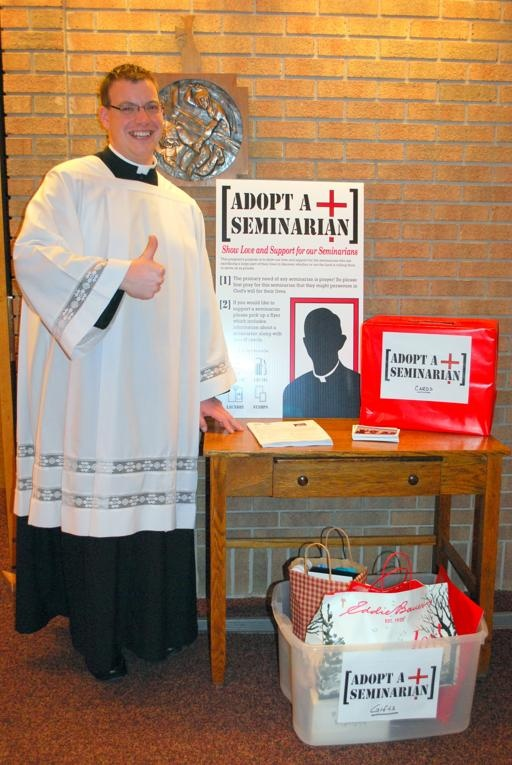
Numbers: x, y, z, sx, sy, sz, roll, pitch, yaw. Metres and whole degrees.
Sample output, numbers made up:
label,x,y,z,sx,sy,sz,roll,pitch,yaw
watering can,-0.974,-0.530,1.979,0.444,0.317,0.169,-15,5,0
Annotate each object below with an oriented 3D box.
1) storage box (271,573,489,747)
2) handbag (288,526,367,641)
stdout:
label,x,y,z,sx,sy,sz,roll,pitch,yaw
storage box,0.331,0.733,1.762,0.447,0.203,0.315,-1,-1,-7
handbag,0.197,0.563,1.869,0.208,0.266,0.105,-1,4,1
